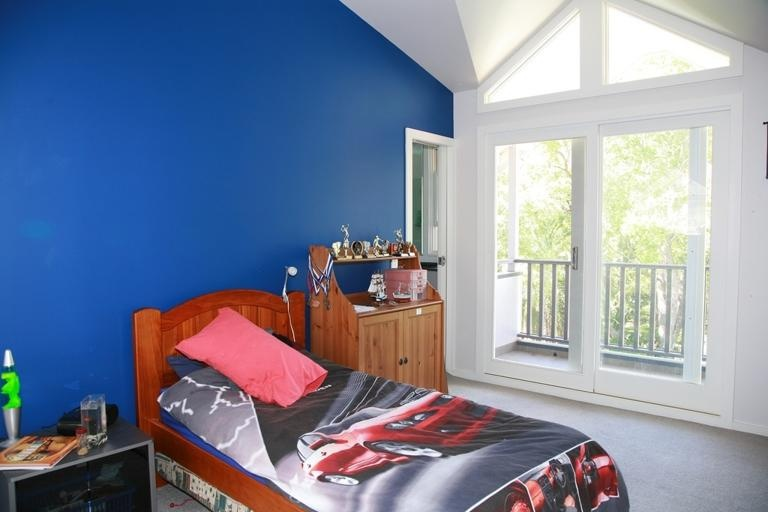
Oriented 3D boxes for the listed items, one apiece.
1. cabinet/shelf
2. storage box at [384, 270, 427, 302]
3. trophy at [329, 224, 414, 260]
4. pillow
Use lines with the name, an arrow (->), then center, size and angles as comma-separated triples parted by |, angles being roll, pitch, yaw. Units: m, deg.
cabinet/shelf -> -0.066, 0.681, 4.573 | 0.614, 1.562, 1.184 | 3, -1, 37
storage box -> 0.188, 0.267, 4.836 | 0.398, 0.252, 0.404 | 1, -1, 42
trophy -> -0.157, -0.153, 4.662 | 0.763, 0.315, 0.413 | 3, 4, -41
pillow -> -0.881, 0.690, 3.388 | 0.829, 0.222, 0.530 | 32, 37, 13
